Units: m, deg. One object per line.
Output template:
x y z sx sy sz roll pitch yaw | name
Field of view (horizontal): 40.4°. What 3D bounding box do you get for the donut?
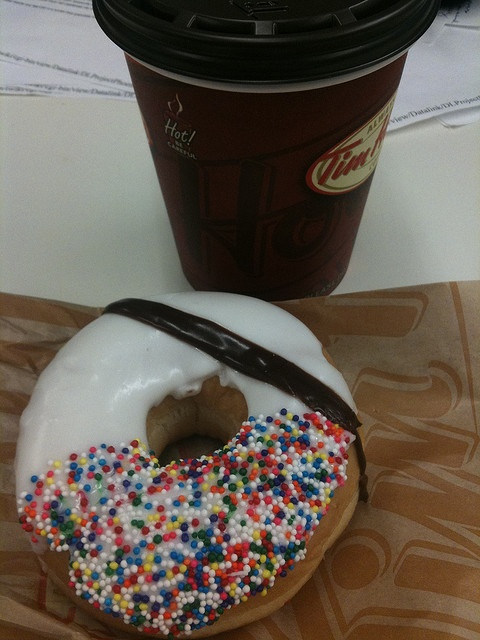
-0.070 0.170 0.893 0.459 0.124 0.469 -15 59 -11 | donut
